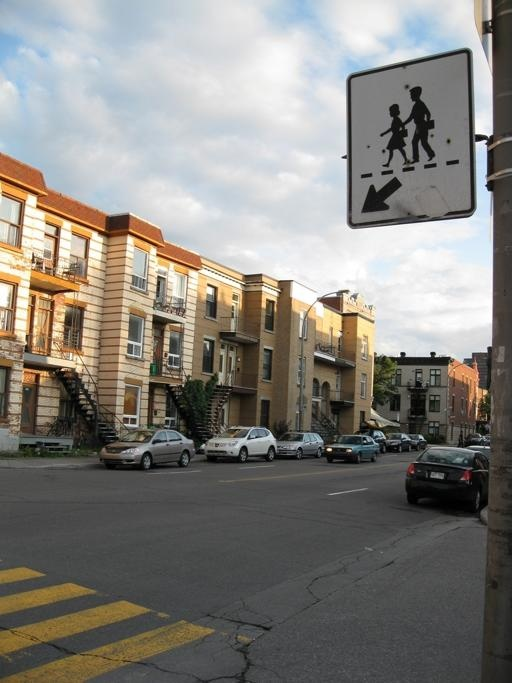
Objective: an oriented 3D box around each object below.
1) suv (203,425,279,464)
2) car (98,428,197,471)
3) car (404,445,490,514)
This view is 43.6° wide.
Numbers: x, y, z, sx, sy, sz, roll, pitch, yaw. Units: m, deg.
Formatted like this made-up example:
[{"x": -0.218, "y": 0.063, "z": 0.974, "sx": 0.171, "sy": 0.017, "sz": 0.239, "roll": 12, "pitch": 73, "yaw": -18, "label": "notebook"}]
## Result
[{"x": -0.854, "y": 4.827, "z": 29.801, "sx": 1.678, "sy": 1.305, "sz": 3.054, "roll": -7, "pitch": -14, "yaw": 33, "label": "suv"}, {"x": -4.122, "y": 4.065, "z": 23.828, "sx": 1.517, "sy": 1.160, "sz": 3.341, "roll": -7, "pitch": -13, "yaw": 29, "label": "car"}, {"x": 4.822, "y": 3.348, "z": 15.697, "sx": 1.635, "sy": 1.448, "sz": 1.903, "roll": -2, "pitch": -9, "yaw": 40, "label": "car"}]
